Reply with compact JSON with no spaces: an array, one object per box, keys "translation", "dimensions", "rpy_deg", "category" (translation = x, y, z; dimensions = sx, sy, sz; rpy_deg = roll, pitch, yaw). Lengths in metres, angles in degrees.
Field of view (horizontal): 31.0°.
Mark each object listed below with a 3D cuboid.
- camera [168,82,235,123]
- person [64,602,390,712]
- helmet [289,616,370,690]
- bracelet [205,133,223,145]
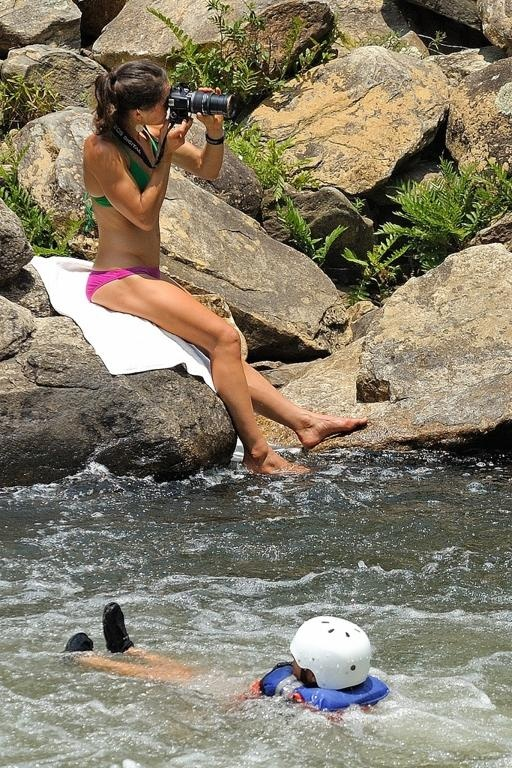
[{"translation":[-0.273,-1.405,4.732],"dimensions":[0.325,0.175,0.173],"rpy_deg":[5,-37,5],"category":"camera"},{"translation":[-0.103,0.780,2.610],"dimensions":[0.923,0.286,0.310],"rpy_deg":[4,-4,23],"category":"person"},{"translation":[0.197,0.723,2.463],"dimensions":[0.161,0.159,0.163],"rpy_deg":[-7,12,-37],"category":"helmet"},{"translation":[-0.249,-1.393,5.245],"dimensions":[0.084,0.027,0.082],"rpy_deg":[-2,3,-41],"category":"bracelet"}]
